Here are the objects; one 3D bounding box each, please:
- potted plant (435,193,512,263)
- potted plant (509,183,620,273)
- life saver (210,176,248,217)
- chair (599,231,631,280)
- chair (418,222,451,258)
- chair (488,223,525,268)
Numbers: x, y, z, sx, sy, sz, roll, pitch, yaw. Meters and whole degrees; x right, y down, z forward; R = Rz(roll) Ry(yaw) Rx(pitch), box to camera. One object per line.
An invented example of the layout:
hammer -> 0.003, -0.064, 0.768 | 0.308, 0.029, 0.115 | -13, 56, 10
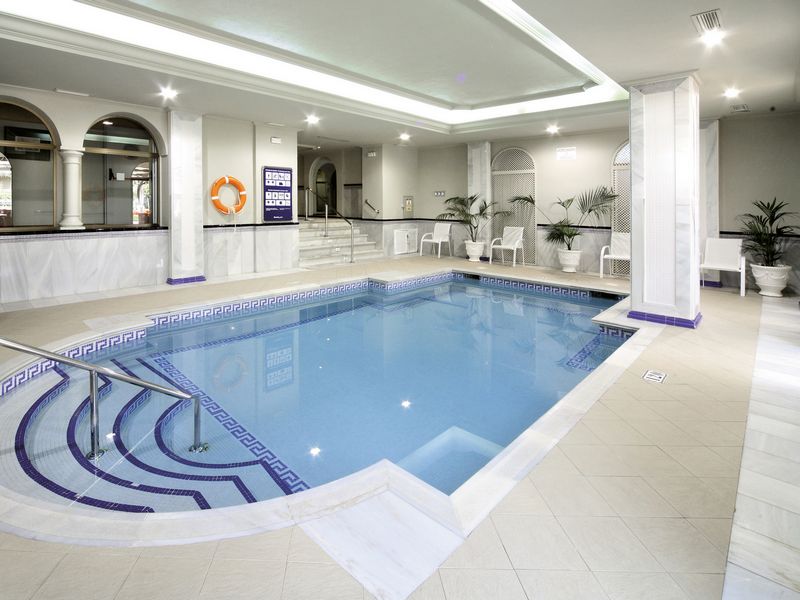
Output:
potted plant -> 2.173, -2.067, 13.918 | 1.823, 1.752, 1.873 | -1, -3, 44
potted plant -> 4.406, -1.855, 12.047 | 1.603, 1.556, 2.147 | -2, 3, -7
life saver -> -3.730, -2.275, 10.283 | 0.202, 0.824, 0.715 | 3, 4, 37
chair -> 4.877, -0.999, 10.597 | 0.532, 1.028, 1.486 | 4, 12, 23
chair -> 1.177, -1.853, 14.748 | 1.009, 1.479, 1.012 | 5, 9, 40
chair -> 2.938, -1.430, 12.562 | 0.879, 1.031, 0.866 | 6, 11, 24
